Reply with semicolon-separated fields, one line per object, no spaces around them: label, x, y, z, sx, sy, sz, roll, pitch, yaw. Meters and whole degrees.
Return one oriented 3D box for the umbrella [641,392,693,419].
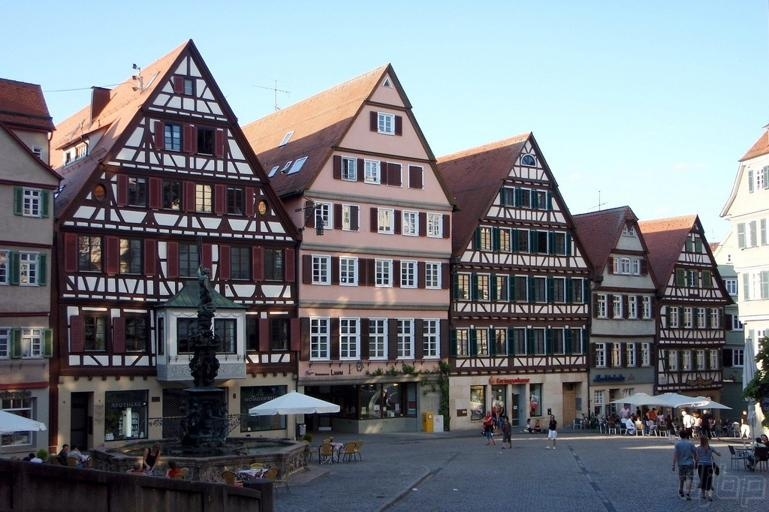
umbrella;16.752;8.559;72.723;3.045;0.716;1.660;0;11;-33
